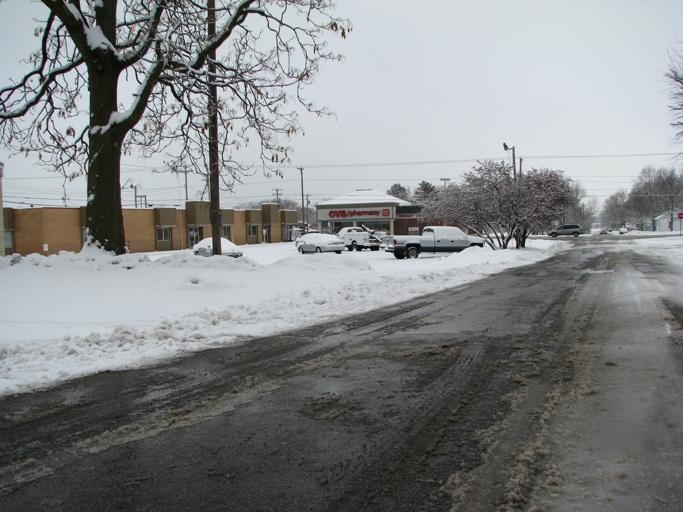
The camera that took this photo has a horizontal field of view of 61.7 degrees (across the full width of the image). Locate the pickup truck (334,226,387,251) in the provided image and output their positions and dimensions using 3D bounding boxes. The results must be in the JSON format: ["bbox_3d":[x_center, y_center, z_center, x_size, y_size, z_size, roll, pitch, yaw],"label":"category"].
[{"bbox_3d":[1.014,-1.181,39.621,1.536,1.168,2.568,-2,6,-31],"label":"pickup truck"}]

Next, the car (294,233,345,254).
[{"bbox_3d":[-1.509,-0.801,34.505,1.200,0.913,2.549,-5,10,-44],"label":"car"}]

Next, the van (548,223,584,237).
[{"bbox_3d":[28.483,-2.960,72.501,4.105,1.909,2.043,4,6,17],"label":"van"}]

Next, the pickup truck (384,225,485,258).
[{"bbox_3d":[4.669,-0.687,30.063,4.067,1.470,1.904,-3,4,-15],"label":"pickup truck"}]
